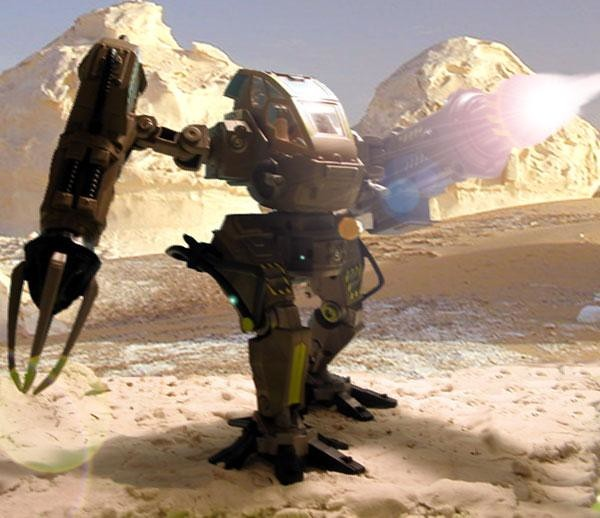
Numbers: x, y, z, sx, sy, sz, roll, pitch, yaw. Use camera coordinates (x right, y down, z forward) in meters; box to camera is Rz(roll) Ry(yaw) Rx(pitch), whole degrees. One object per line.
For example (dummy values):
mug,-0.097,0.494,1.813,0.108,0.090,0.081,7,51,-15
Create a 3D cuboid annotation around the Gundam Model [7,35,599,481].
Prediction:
Gundam Model,-0.297,0.002,6.566,4.810,3.966,1.822,-8,21,-42
